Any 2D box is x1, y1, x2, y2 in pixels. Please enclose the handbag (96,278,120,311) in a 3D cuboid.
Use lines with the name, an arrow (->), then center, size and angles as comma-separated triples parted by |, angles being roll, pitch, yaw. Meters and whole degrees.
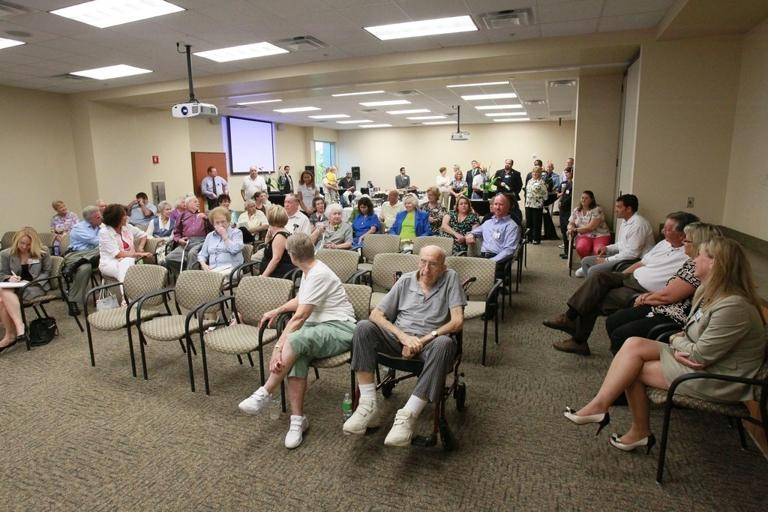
handbag -> -3.470, 0.496, 6.296 | 0.244, 0.534, 0.373 | -6, 9, -24

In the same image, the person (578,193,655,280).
person -> 3.119, -0.100, 6.911 | 1.037, 1.457, 0.633 | 4, 16, 17

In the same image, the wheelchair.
wheelchair -> 0.194, 0.843, 4.396 | 0.899, 1.266, 0.989 | 2, 12, 16

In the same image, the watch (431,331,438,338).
watch -> 0.425, 0.695, 4.401 | 0.054, 0.035, 0.053 | -8, -21, -49

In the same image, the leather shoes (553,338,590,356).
leather shoes -> 2.113, 1.035, 5.715 | 0.439, 0.193, 0.164 | 4, 6, 24

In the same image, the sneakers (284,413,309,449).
sneakers -> -0.788, 1.551, 4.422 | 0.116, 0.151, 0.330 | -1, 3, 9

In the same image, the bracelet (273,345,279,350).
bracelet -> -0.968, 0.821, 4.485 | 0.044, 0.032, 0.044 | 5, 7, 21

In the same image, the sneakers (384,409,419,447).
sneakers -> 0.133, 1.412, 4.119 | 0.260, 0.283, 0.139 | -2, 12, -1

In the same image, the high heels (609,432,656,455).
high heels -> 2.094, 1.589, 4.243 | 0.330, 0.171, 0.175 | 3, 4, 24

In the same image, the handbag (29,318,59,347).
handbag -> -4.181, 0.947, 6.131 | 0.154, 0.289, 0.300 | 0, 5, 12

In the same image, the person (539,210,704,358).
person -> 2.406, 0.192, 5.714 | 1.472, 1.844, 0.742 | -9, 17, -40

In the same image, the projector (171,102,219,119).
projector -> -2.989, -2.324, 8.065 | 0.613, 0.227, 0.601 | 6, 8, 31

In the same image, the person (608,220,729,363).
person -> 2.630, 0.440, 5.050 | 0.962, 1.760, 0.666 | -19, 30, -31

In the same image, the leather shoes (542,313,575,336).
leather shoes -> 2.012, 0.769, 5.797 | 0.477, 0.209, 0.163 | 10, 14, 34

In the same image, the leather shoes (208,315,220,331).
leather shoes -> -1.890, 0.745, 5.516 | 0.053, 0.068, 0.229 | 9, 28, 1

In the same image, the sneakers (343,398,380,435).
sneakers -> -0.203, 1.380, 4.294 | 0.134, 0.289, 0.335 | 8, 15, 39
